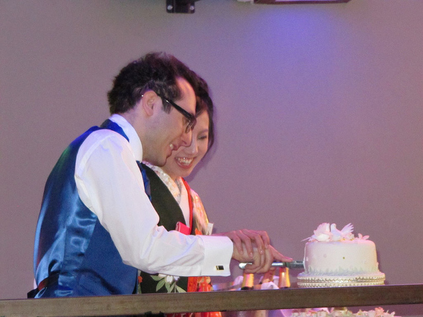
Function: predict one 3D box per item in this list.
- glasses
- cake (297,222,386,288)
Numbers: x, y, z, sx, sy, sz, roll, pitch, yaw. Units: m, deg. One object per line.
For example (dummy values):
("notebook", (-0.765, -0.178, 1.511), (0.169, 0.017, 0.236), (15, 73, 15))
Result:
("glasses", (-0.270, -0.259, 5.108), (0.241, 0.064, 0.231), (51, -18, -5))
("cake", (0.789, 0.670, 5.101), (0.412, 0.336, 0.435), (4, -13, -18))
